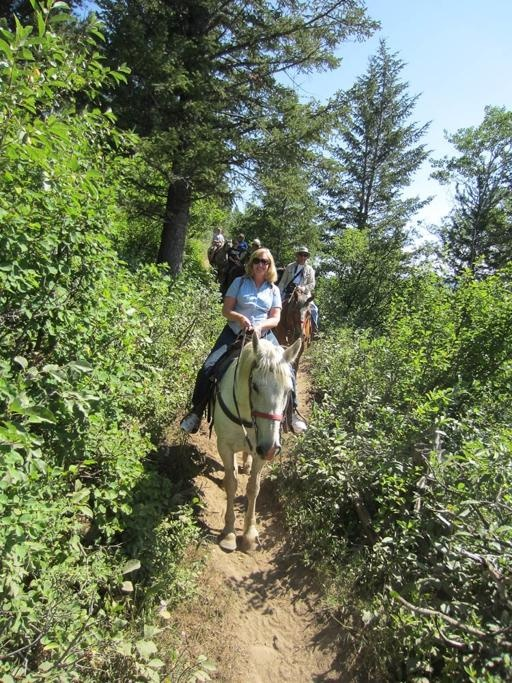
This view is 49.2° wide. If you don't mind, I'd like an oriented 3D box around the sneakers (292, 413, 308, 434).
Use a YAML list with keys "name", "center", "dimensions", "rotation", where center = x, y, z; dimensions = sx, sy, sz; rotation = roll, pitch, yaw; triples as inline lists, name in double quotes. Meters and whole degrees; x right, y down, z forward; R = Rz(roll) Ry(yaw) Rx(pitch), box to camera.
- name: "sneakers"
  center: [0.507, 1.032, 6.841]
  dimensions: [0.186, 0.118, 0.294]
  rotation: [17, 24, -13]

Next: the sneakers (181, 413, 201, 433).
- name: "sneakers"
  center: [-0.722, 0.901, 6.173]
  dimensions: [0.172, 0.234, 0.241]
  rotation: [29, -9, -10]
